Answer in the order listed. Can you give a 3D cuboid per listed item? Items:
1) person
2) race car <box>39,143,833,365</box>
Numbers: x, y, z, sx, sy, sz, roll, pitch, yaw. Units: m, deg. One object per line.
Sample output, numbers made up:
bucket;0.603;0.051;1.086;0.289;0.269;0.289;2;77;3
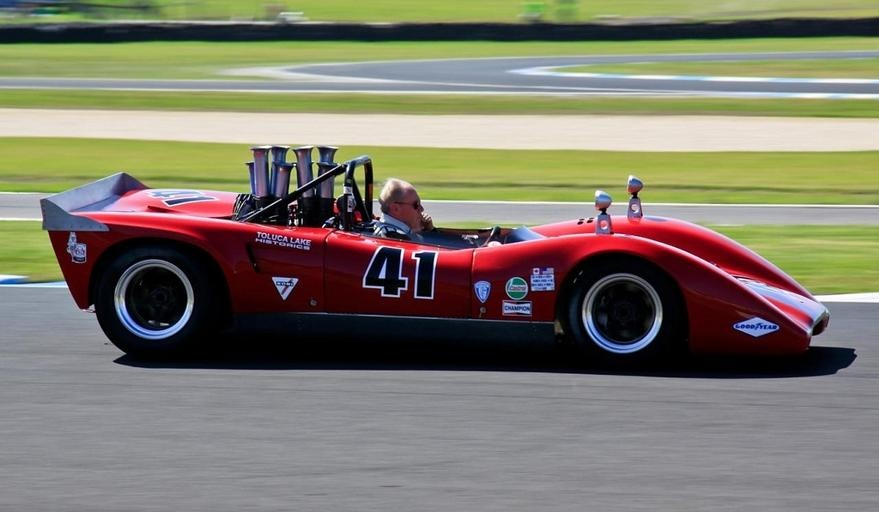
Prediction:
person;-0.069;-0.694;26.595;2.636;0.743;1.258;4;11;4
race car;0.039;-0.186;27.015;12.092;2.179;4.464;1;5;3
